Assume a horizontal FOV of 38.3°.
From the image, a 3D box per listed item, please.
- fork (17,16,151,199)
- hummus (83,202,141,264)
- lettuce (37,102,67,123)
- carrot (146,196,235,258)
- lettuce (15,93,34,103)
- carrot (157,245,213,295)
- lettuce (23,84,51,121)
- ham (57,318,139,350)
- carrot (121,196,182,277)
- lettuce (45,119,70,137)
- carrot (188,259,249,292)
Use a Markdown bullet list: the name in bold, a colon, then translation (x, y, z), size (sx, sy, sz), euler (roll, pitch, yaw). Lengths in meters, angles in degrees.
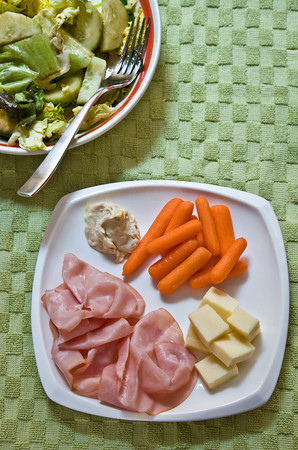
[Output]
- **fork**: translation (-0.186, -0.318, 1.135), size (0.077, 0.083, 0.551), euler (35, 89, -3)
- **hummus**: translation (-0.099, 0.013, 1.214), size (0.147, 0.165, 0.116), euler (-20, 41, -18)
- **lettuce**: translation (-0.258, -0.293, 1.116), size (0.062, 0.025, 0.061), euler (7, 87, -16)
- **carrot**: translation (0.114, 0.016, 1.161), size (0.184, 0.046, 0.179), euler (-11, 44, 25)
- **lettuce**: translation (-0.319, -0.322, 1.092), size (0.041, 0.024, 0.030), euler (-4, 83, 2)
- **carrot**: translation (0.092, 0.120, 1.132), size (0.162, 0.031, 0.042), euler (-40, 83, -2)
- **lettuce**: translation (-0.291, -0.322, 1.106), size (0.044, 0.033, 0.086), euler (-24, 83, 0)
- **ham**: translation (-0.141, 0.274, 1.125), size (0.208, 0.129, 0.044), euler (-3, 110, -9)
- **carrot**: translation (0.007, 0.036, 1.161), size (0.046, 0.043, 0.249), euler (39, 80, -6)
- **lettuce**: translation (-0.240, -0.251, 1.109), size (0.060, 0.021, 0.056), euler (-1, 91, -9)
- **carrot**: translation (0.184, 0.134, 1.132), size (0.131, 0.033, 0.034), euler (-26, 74, 1)
